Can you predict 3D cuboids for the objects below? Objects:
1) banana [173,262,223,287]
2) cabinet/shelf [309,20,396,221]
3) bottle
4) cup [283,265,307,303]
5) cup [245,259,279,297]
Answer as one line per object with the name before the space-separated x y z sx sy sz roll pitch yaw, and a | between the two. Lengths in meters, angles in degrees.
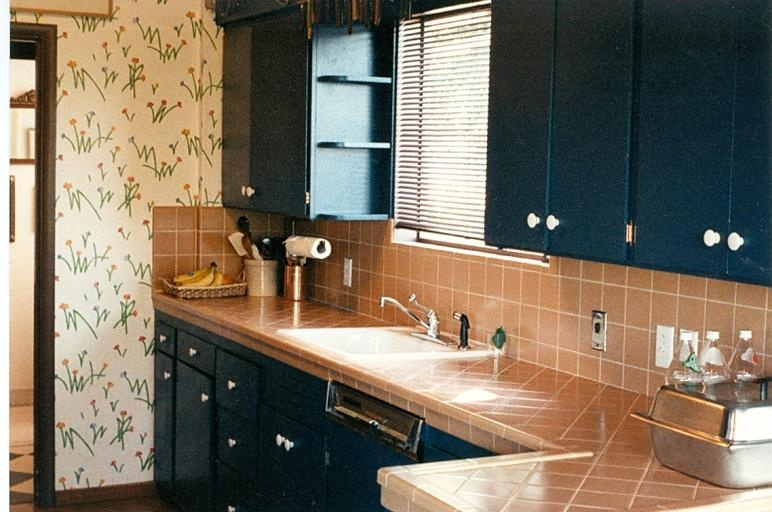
banana | -1.163 0.133 3.990 0.236 0.098 0.159 -13 27 -18
cabinet/shelf | -0.174 -0.700 3.350 0.434 0.989 0.177 1 10 0
bottle | 1.032 0.325 2.019 0.221 0.132 0.082 -2 2 -17
cup | -0.550 0.163 3.955 0.107 0.223 0.085 -2 10 -17
cup | -0.775 0.137 4.035 0.231 0.241 0.224 0 -2 0
